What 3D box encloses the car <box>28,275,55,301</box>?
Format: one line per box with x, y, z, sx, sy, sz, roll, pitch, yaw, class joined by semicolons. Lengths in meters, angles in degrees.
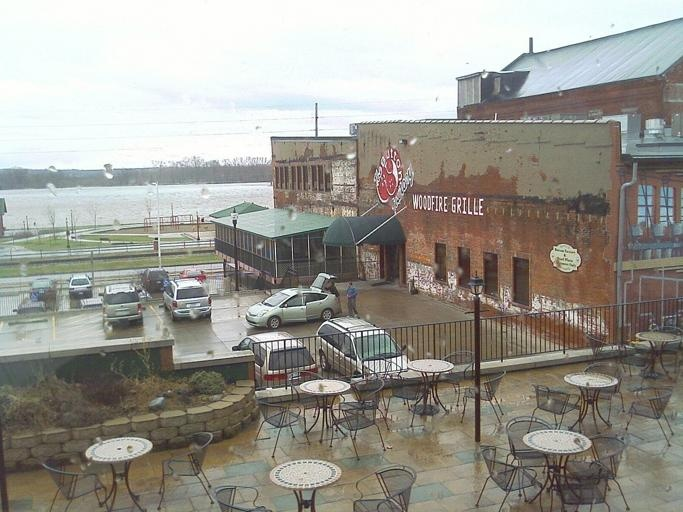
-20.377;2.530;37.800;1.352;0.902;2.789;2;24;-17;car

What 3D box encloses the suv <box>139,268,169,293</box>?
-13.143;1.550;38.578;1.594;1.257;2.511;-4;21;-22;suv

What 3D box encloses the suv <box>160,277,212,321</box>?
-7.899;2.071;27.897;1.518;1.078;2.863;-2;13;-18;suv

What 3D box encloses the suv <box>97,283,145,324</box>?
-10.737;2.449;26.771;1.621;1.641;2.017;-5;5;-26;suv

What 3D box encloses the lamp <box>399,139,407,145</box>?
3.474;-6.289;30.757;0.574;0.280;0.382;-4;7;-4;lamp

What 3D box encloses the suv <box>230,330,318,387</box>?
-2.077;3.003;16.287;1.676;1.386;3.453;-8;12;-27;suv

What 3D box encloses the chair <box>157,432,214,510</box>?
-2.665;3.539;9.388;0.928;1.008;1.220;-4;4;-13;chair

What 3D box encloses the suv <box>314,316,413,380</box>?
0.577;2.627;15.766;1.537;0.993;2.733;-1;2;-23;suv

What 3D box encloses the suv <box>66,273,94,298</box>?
-18.414;2.319;38.880;1.380;1.066;3.042;-2;23;-23;suv
